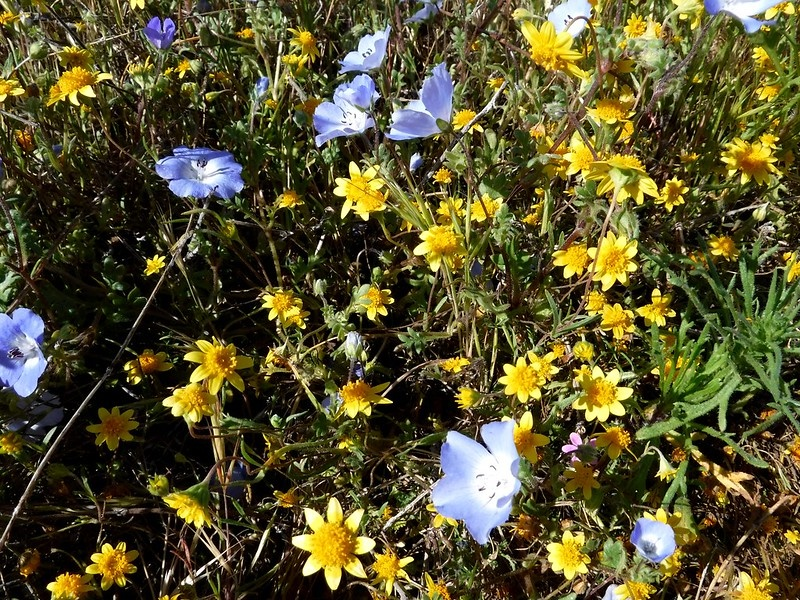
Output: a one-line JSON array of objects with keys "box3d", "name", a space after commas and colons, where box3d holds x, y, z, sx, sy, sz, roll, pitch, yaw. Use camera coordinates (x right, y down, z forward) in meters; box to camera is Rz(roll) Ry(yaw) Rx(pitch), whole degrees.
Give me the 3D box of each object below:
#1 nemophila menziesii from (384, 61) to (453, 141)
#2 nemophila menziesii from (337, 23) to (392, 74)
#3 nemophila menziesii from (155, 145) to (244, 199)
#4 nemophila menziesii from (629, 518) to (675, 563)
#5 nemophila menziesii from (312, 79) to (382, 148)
[{"box3d": [0.105, -0.711, 2.652, 0.194, 0.342, 0.302, -3, 99, 4], "name": "nemophila menziesii"}, {"box3d": [-0.141, -1.114, 3.227, 0.124, 0.255, 0.265, 44, 74, -27], "name": "nemophila menziesii"}, {"box3d": [-0.813, -0.558, 3.010, 0.261, 0.306, 0.393, -9, 17, -37], "name": "nemophila menziesii"}, {"box3d": [0.894, 0.854, 2.558, 0.141, 0.084, 0.167, 7, 75, 18], "name": "nemophila menziesii"}, {"box3d": [-0.228, -0.785, 3.020, 0.229, 0.352, 0.249, -7, 23, -7], "name": "nemophila menziesii"}]
